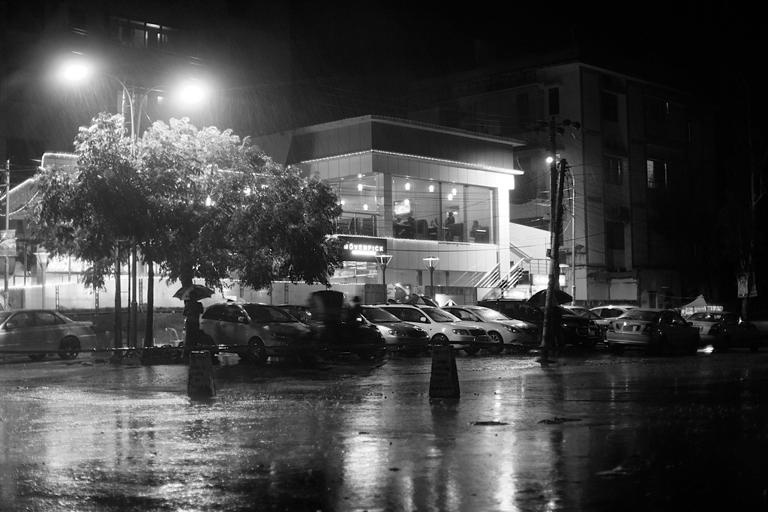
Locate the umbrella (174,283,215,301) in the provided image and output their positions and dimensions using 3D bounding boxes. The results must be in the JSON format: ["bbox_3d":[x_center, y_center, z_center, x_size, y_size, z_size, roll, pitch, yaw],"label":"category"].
[{"bbox_3d":[-6.832,1.302,36.975,1.279,0.642,2.469,1,-4,-13],"label":"umbrella"}]
